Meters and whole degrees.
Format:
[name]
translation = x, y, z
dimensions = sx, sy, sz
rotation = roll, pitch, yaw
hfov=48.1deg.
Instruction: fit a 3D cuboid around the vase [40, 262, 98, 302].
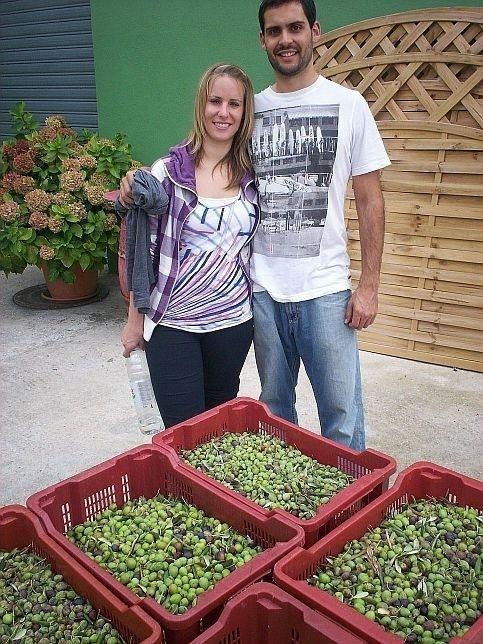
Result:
[vase]
translation = -1.690, -0.345, 5.247
dimensions = 0.428, 0.379, 0.382
rotation = 6, 26, 14
